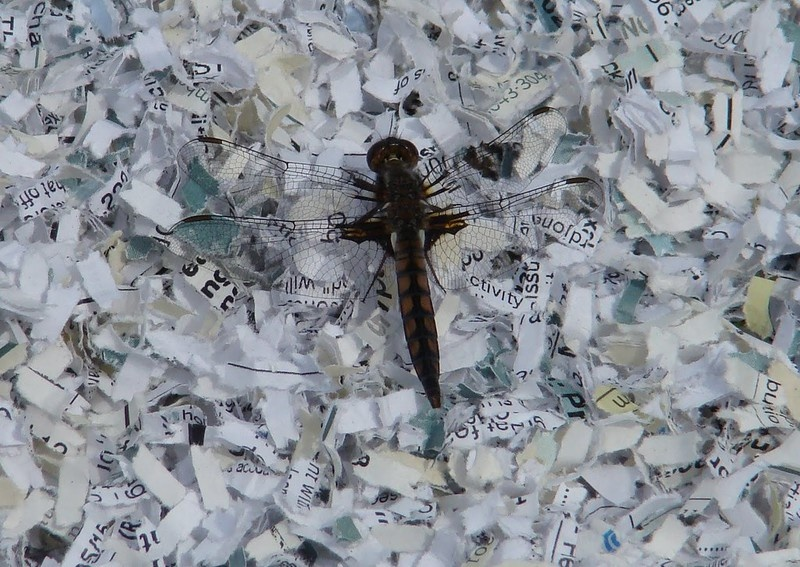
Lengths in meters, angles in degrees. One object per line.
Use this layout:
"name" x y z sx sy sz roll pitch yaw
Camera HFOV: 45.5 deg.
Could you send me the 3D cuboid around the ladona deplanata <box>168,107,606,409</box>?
"ladona deplanata" 0.016 -0.043 2.606 1.046 0.400 0.695 -6 89 -35
